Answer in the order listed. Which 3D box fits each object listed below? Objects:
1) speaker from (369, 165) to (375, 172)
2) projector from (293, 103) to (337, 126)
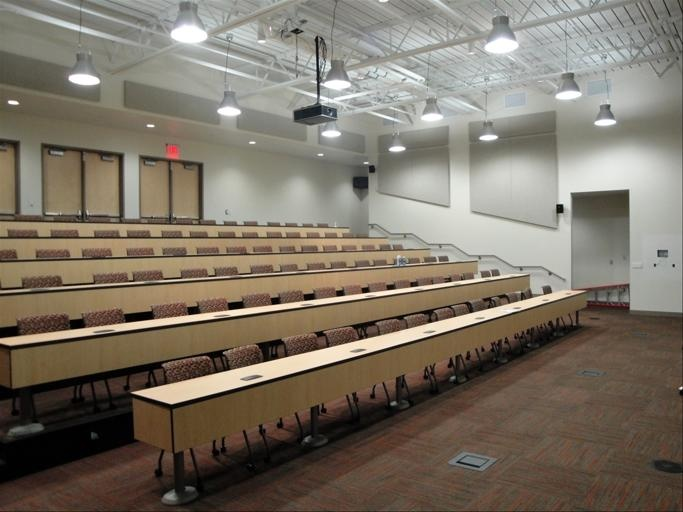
[{"bbox_3d":[1.249,-3.654,17.556,0.266,0.267,0.141,-1,-4,4],"label":"speaker"},{"bbox_3d":[-0.496,-2.799,8.214,0.694,0.401,0.497,1,3,36],"label":"projector"}]
